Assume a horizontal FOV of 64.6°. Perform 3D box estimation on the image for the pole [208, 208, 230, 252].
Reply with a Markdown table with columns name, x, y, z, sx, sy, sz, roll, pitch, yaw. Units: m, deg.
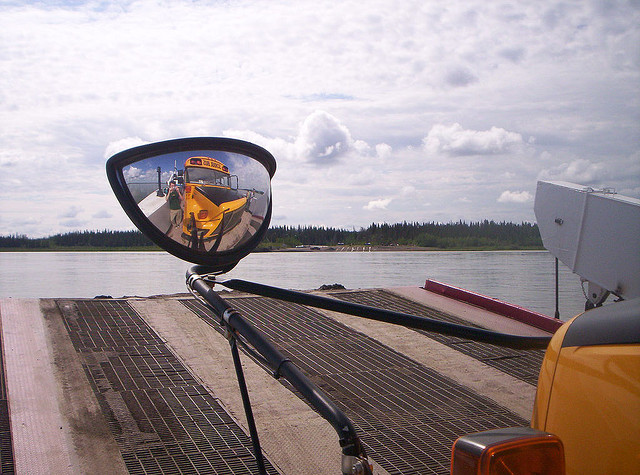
| name | x | y | z | sx | sy | sz | roll | pitch | yaw |
| --- | --- | --- | --- | --- | --- | --- | --- | --- | --- |
| pole | -0.472 | -0.036 | 2.384 | 0.034 | 0.265 | 0.041 | 27 | -17 | -18 |

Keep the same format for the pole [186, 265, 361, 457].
| name | x | y | z | sx | sy | sz | roll | pitch | yaw |
| --- | --- | --- | --- | --- | --- | --- | --- | --- | --- |
| pole | -0.382 | 0.367 | 2.341 | 0.287 | 0.279 | 1.654 | -1 | 16 | -35 |

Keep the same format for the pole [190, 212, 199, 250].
| name | x | y | z | sx | sy | sz | roll | pitch | yaw |
| --- | --- | --- | --- | --- | --- | --- | --- | --- | --- |
| pole | -0.579 | -0.033 | 2.309 | 0.037 | 0.161 | 0.049 | 1 | 11 | -19 |

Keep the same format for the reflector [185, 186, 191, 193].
| name | x | y | z | sx | sy | sz | roll | pitch | yaw |
| --- | --- | --- | --- | --- | --- | --- | --- | --- | --- |
| reflector | -0.605 | -0.221 | 2.282 | 0.031 | 0.027 | 0.007 | 2 | -1 | -9 |
